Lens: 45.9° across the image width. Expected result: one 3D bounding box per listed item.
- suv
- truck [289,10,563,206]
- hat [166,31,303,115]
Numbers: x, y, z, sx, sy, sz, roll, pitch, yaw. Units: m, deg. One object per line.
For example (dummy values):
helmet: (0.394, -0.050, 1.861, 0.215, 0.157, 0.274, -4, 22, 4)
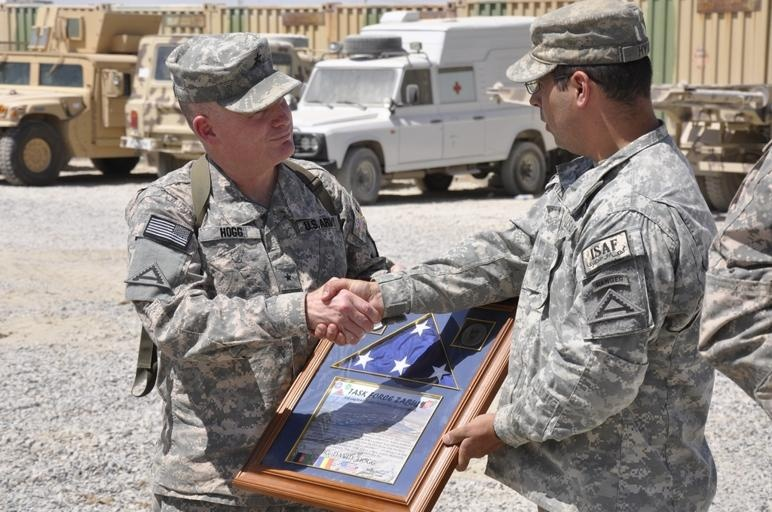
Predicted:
suv: (-2.457, -2.634, 14.113, 2.272, 2.233, 3.713, 6, 17, 28)
truck: (0.093, -2.046, 12.924, 3.759, 2.276, 2.168, -3, 4, -40)
hat: (-0.635, -0.775, 3.805, 0.486, 0.192, 0.341, 10, 29, 15)
